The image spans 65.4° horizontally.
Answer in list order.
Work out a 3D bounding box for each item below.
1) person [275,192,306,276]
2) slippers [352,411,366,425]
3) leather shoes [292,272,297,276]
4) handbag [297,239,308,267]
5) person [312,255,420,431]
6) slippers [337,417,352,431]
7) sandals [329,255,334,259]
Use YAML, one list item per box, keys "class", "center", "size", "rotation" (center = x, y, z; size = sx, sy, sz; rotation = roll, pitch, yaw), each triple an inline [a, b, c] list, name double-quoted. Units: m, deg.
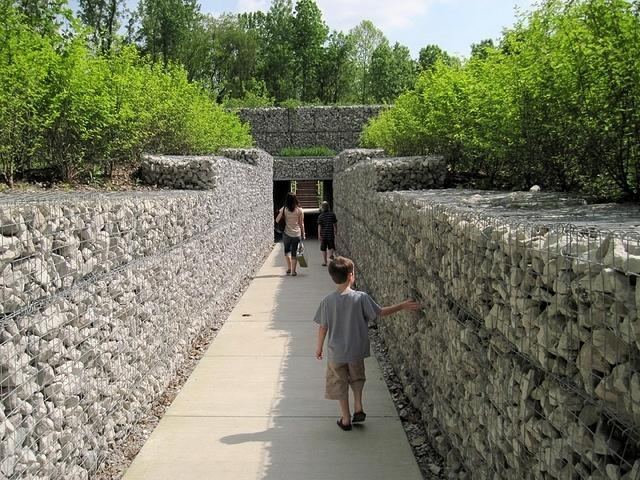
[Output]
- class: "person"
  center: [-0.742, -0.176, 12.355]
  size: [0.648, 2.031, 0.794]
  rotation: [-1, 9, -5]
- class: "slippers"
  center: [0.382, 1.728, 4.822]
  size: [0.076, 0.083, 0.185]
  rotation: [-1, -8, -7]
- class: "leather shoes"
  center: [-0.633, 0.802, 12.189]
  size: [0.071, 0.045, 0.134]
  rotation: [1, 6, 0]
- class: "handbag"
  center: [-0.473, 0.346, 13.266]
  size: [0.267, 0.763, 0.771]
  rotation: [-9, -2, 3]
- class: "person"
  center: [0.337, 1.003, 4.869]
  size: [0.781, 1.718, 0.546]
  rotation: [0, 9, -1]
- class: "slippers"
  center: [0.235, 1.787, 4.827]
  size: [0.060, 0.070, 0.169]
  rotation: [0, 0, -13]
- class: "sandals"
  center: [0.326, 0.441, 13.894]
  size: [0.134, 0.083, 0.208]
  rotation: [-2, 1, 1]
